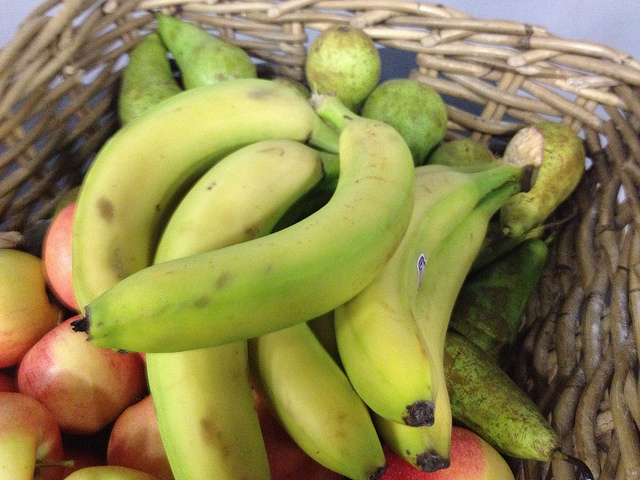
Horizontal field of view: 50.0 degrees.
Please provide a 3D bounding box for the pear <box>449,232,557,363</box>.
[{"bbox_3d":[0.388,0.106,1.356,0.284,0.103,0.120,-47,26,-18],"label":"pear"}]

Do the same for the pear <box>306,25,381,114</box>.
[{"bbox_3d":[0.054,-0.363,1.490,0.146,0.198,0.151,-7,19,-18],"label":"pear"}]

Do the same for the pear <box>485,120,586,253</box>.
[{"bbox_3d":[0.504,-0.185,1.475,0.134,0.113,0.284,40,37,25],"label":"pear"}]

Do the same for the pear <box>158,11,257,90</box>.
[{"bbox_3d":[-0.234,-0.409,1.513,0.184,0.220,0.160,-18,28,-25],"label":"pear"}]

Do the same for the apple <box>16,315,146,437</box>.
[{"bbox_3d":[-0.383,0.229,1.111,0.164,0.171,0.161,7,33,14],"label":"apple"}]
